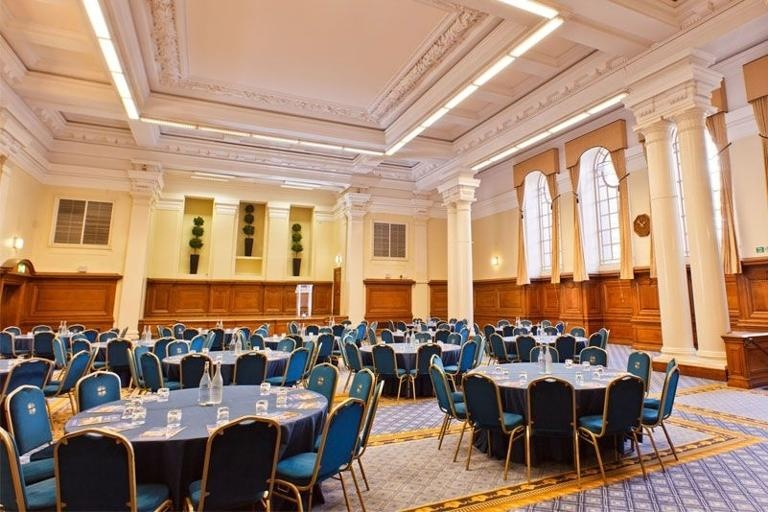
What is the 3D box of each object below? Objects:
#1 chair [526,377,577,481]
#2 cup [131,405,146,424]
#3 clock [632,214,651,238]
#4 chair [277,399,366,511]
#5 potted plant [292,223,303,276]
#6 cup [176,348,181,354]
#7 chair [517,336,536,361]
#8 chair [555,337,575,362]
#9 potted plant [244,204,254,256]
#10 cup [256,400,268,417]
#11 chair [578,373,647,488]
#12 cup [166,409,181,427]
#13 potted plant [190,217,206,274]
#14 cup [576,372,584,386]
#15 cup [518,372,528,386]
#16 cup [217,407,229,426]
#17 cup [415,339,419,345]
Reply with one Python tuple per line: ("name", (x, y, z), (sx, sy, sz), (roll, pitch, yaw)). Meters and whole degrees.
("chair", (2.069, 2.052, 5.600), (0.627, 1.284, 0.591), (1, 8, 13))
("cup", (-2.661, 1.717, 4.967), (0.166, 0.226, 0.129), (2, -10, -22))
("clock", (7.082, -0.818, 12.466), (0.068, 0.730, 0.645), (7, 0, -21))
("chair", (-0.654, 1.956, 4.859), (0.970, 0.940, 0.446), (-3, 8, -15))
("potted plant", (-3.102, -0.224, 16.334), (0.456, 1.837, 0.650), (-3, 8, -11))
("cup", (-3.767, 1.741, 8.362), (0.071, 0.071, 0.050), (3, -15, 4))
("chair", (2.889, 1.893, 9.325), (0.402, 0.534, 0.275), (2, 9, 25))
("chair", (3.731, 1.896, 9.377), (0.391, 0.537, 0.236), (2, 8, 21))
("potted plant", (-4.718, -0.896, 16.055), (0.443, 1.794, 0.437), (2, 1, -5))
("cup", (-1.404, 1.742, 5.234), (0.106, 0.191, 0.105), (-1, -2, 0))
("chair", (2.778, 2.031, 5.641), (1.036, 1.264, 0.534), (-3, 8, -10))
("cup", (-2.260, 1.752, 4.944), (0.145, 0.162, 0.144), (0, -5, 0))
("potted plant", (-6.321, -0.354, 15.294), (0.493, 1.869, 0.733), (-3, 8, -10))
("cup", (2.577, 1.616, 5.988), (0.114, 0.205, 0.117), (-1, -4, 0))
("cup", (1.826, 1.612, 5.947), (0.133, 0.151, 0.133), (0, -10, 0))
("cup", (-1.764, 1.743, 4.993), (0.120, 0.135, 0.121), (0, -1, 0))
("cup", (0.713, 1.854, 9.771), (0.103, 0.099, 0.050), (5, -12, -34))
